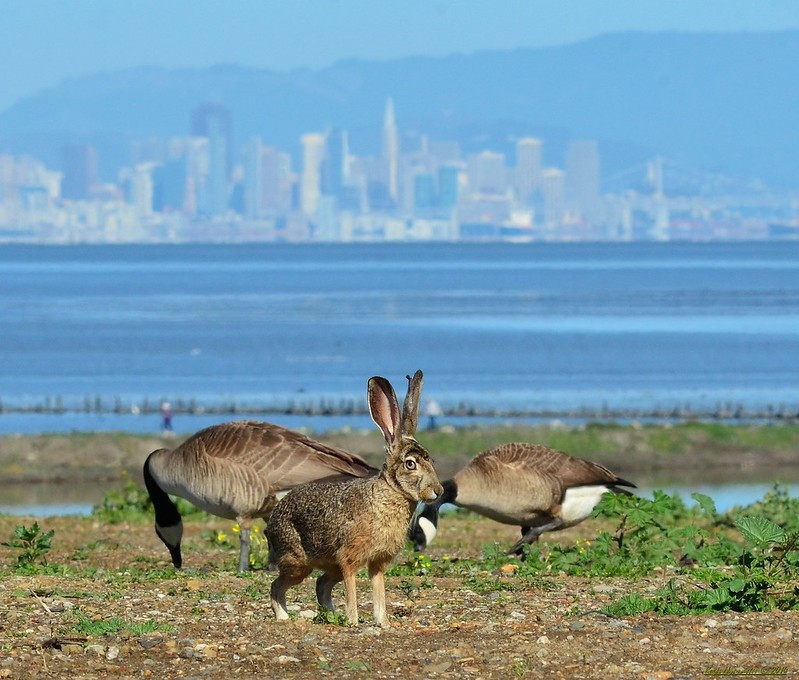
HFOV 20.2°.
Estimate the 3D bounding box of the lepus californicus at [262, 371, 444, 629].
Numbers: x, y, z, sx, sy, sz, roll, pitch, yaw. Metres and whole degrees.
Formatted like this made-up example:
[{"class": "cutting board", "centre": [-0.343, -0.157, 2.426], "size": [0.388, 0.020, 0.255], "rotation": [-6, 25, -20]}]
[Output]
[{"class": "lepus californicus", "centre": [-1.319, 4.800, 67.465], "size": [4.597, 7.751, 0.718], "rotation": [0, 0, 12]}]
